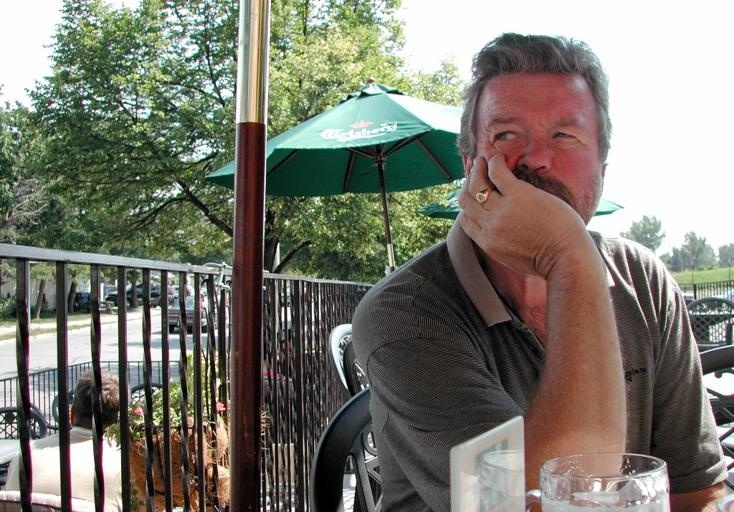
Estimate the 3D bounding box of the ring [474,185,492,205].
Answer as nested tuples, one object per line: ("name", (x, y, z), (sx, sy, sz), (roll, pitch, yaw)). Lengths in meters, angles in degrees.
("ring", (0.364, -0.178, 2.064), (0.046, 0.065, 0.019), (31, 3, 34))
